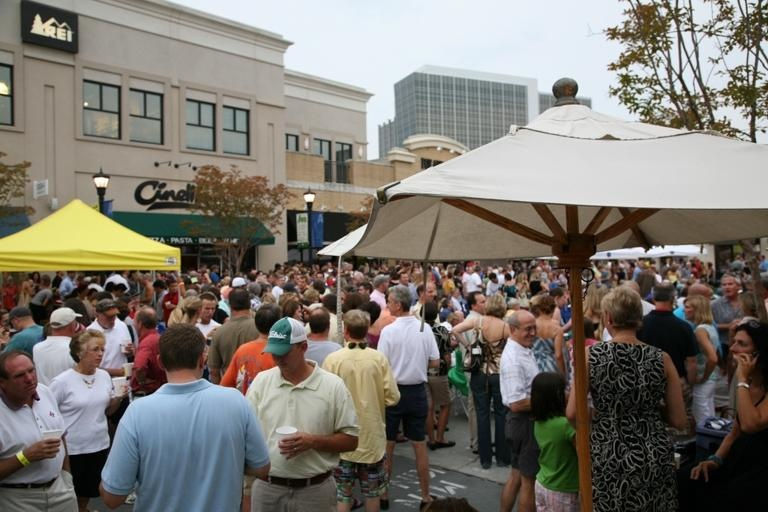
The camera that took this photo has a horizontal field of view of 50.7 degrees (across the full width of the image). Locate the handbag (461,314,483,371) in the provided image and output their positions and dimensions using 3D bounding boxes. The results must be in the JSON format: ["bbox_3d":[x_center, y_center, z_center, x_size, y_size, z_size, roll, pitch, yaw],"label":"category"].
[{"bbox_3d":[1.495,1.475,13.696,0.483,1.152,0.843,-2,-8,12],"label":"handbag"}]

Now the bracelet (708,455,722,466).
[{"bbox_3d":[4.319,2.664,10.559,0.122,0.062,0.108,7,-4,11],"label":"bracelet"}]

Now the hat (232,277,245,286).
[{"bbox_3d":[-3.347,0.604,18.720,0.308,0.229,0.405,-2,-2,-27],"label":"hat"}]

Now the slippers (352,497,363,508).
[{"bbox_3d":[-0.434,3.825,12.539,0.097,0.116,0.297,1,1,24],"label":"slippers"}]

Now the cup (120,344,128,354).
[{"bbox_3d":[-4.247,1.524,13.330,0.140,0.146,0.145,0,-9,0],"label":"cup"}]

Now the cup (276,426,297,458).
[{"bbox_3d":[-1.248,2.349,10.331,0.319,0.334,0.322,2,3,0],"label":"cup"}]

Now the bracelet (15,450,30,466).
[{"bbox_3d":[-4.762,2.675,10.756,0.131,0.184,0.181,-20,-18,-21],"label":"bracelet"}]

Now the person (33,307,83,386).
[{"bbox_3d":[-5.108,1.555,12.890,0.798,1.426,0.816,1,0,11],"label":"person"}]

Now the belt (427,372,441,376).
[{"bbox_3d":[0.868,2.053,14.152,0.172,0.082,0.222,0,-7,3],"label":"belt"}]

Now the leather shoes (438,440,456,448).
[{"bbox_3d":[1.093,3.315,14.294,0.329,0.126,0.120,-4,3,-18],"label":"leather shoes"}]

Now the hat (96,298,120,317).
[{"bbox_3d":[-4.604,0.839,13.448,0.319,0.249,0.243,2,-2,-21],"label":"hat"}]

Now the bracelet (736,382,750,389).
[{"bbox_3d":[4.611,1.640,10.375,0.118,0.075,0.112,5,-9,-18],"label":"bracelet"}]

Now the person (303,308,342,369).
[{"bbox_3d":[-0.922,1.273,12.286,0.774,0.648,0.408,1,16,7],"label":"person"}]

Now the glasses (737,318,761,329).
[{"bbox_3d":[4.810,0.863,10.596,0.210,0.077,0.209,2,-2,-38],"label":"glasses"}]
